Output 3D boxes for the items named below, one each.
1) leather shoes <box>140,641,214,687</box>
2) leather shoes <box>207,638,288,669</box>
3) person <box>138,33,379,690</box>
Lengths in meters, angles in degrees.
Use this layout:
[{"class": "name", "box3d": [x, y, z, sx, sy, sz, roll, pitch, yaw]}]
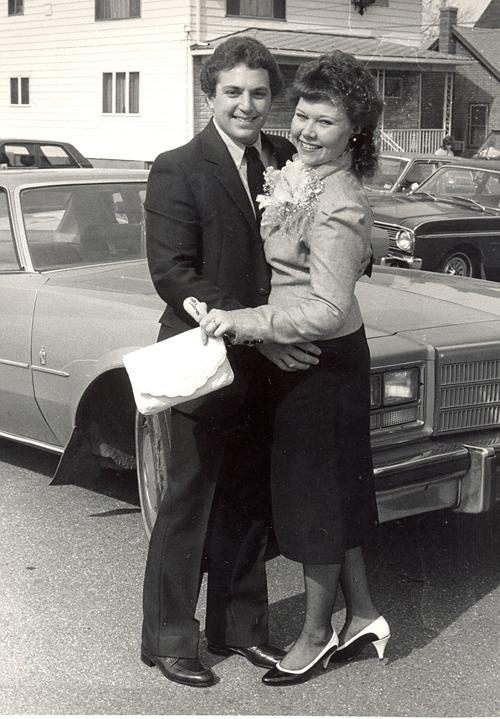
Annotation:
[{"class": "leather shoes", "box3d": [-0.208, 0.852, 1.923, 0.193, 0.088, 0.082, 5, 6, 31]}, {"class": "leather shoes", "box3d": [-0.009, 0.857, 2.049, 0.230, 0.076, 0.083, 0, 5, 21]}, {"class": "person", "box3d": [-0.067, -0.038, 2.105, 0.847, 1.612, 0.916, 21, 16, 20]}]
